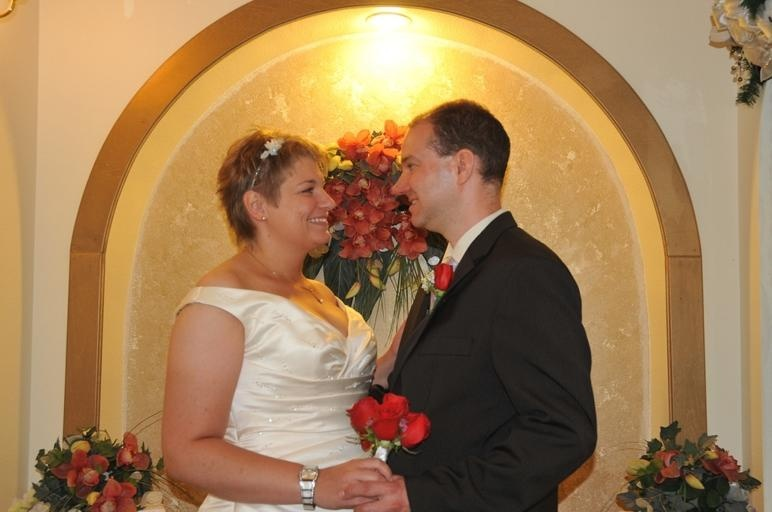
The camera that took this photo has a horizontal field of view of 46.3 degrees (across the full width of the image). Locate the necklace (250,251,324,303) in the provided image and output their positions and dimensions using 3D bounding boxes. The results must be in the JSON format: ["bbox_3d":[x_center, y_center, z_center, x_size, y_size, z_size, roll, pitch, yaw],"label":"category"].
[{"bbox_3d":[-0.528,0.111,4.709,0.115,0.153,0.262,-27,-37,32],"label":"necklace"}]

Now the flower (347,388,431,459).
[{"bbox_3d":[0.014,0.778,4.211,0.351,0.302,0.192,13,-54,5],"label":"flower"}]
